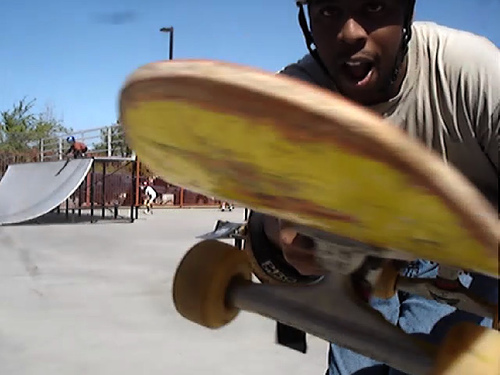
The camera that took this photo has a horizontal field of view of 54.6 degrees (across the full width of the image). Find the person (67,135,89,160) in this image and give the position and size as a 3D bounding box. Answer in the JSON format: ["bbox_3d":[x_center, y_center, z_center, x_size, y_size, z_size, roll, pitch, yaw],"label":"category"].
[{"bbox_3d":[-4.197,-0.997,11.757,0.439,0.503,1.222,0,4,-21],"label":"person"}]

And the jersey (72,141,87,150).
[{"bbox_3d":[-4.152,-1.018,11.807,0.338,0.211,0.490,4,2,-1],"label":"jersey"}]

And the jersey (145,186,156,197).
[{"bbox_3d":[-2.632,0.089,12.805,0.204,0.198,0.643,0,4,-12],"label":"jersey"}]
